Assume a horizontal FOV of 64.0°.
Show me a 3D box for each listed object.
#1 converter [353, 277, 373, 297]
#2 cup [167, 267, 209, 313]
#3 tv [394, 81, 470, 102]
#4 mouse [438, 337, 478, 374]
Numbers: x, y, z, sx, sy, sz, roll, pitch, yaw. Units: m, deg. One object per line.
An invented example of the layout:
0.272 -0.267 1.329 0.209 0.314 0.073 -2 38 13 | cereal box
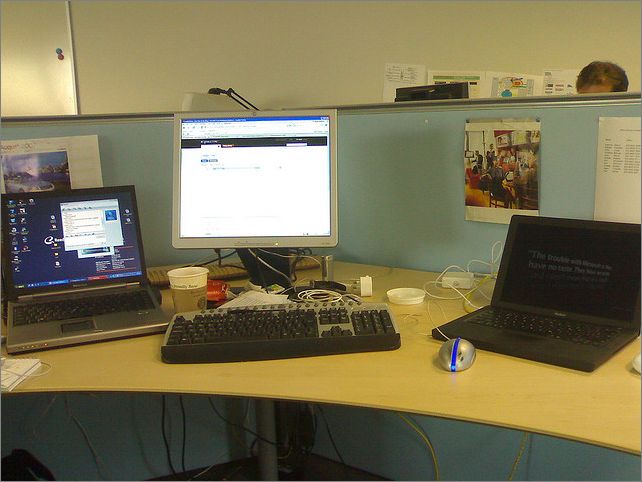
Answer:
0.126 0.137 1.516 0.062 0.056 0.061 0 7 6 | converter
-0.347 0.134 1.448 0.128 0.111 0.116 -1 12 0 | cup
0.448 -0.602 2.064 0.221 0.075 0.370 -3 12 -5 | tv
0.309 0.254 1.159 0.093 0.061 0.088 1 10 9 | mouse
